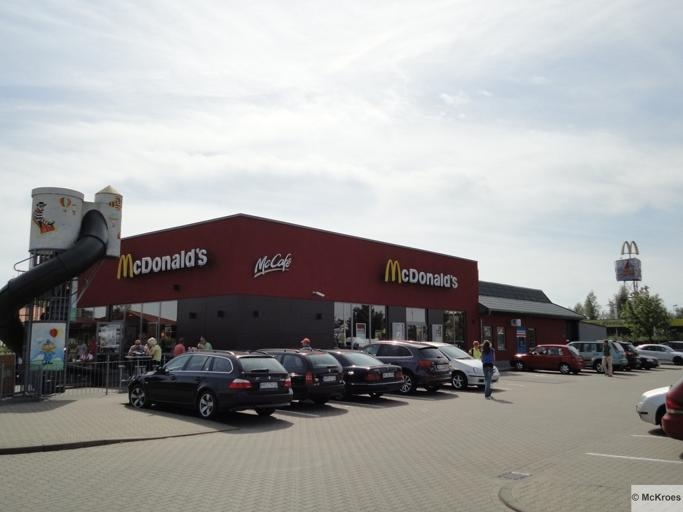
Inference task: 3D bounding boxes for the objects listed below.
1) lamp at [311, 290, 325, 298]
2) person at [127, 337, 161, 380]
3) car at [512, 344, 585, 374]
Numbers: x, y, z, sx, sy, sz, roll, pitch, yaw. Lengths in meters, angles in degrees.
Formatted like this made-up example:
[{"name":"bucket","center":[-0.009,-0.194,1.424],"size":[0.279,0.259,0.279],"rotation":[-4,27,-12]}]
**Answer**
[{"name":"lamp","center":[-1.111,1.878,25.787],"size":[0.145,0.349,0.884],"rotation":[-4,-8,37]},{"name":"person","center":[-7.568,3.944,20.334],"size":[1.087,1.452,1.453],"rotation":[-4,-7,29]},{"name":"car","center":[12.074,5.896,30.420],"size":[2.928,1.253,1.706],"rotation":[-1,-6,42]}]
